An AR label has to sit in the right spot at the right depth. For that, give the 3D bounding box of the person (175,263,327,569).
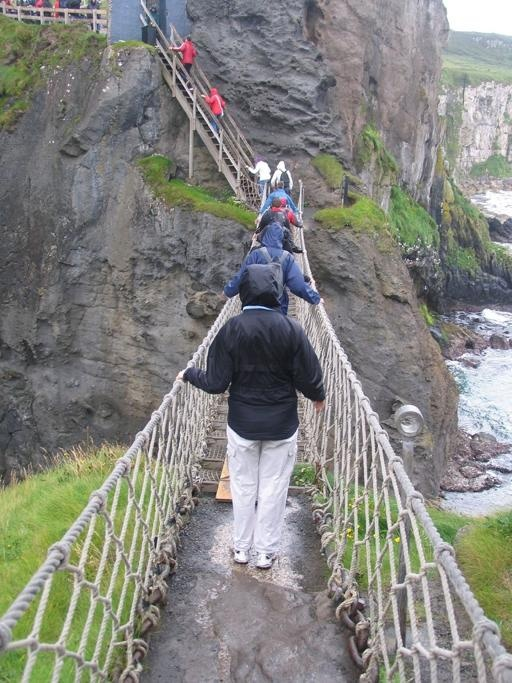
[{"bbox_3d":[-0.004,0.393,3.014,0.614,1.480,0.251,8,15,8],"label":"person"}]

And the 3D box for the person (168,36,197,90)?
[{"bbox_3d":[-1.607,-6.224,13.887,0.472,1.139,1.716,4,16,-6],"label":"person"}]
